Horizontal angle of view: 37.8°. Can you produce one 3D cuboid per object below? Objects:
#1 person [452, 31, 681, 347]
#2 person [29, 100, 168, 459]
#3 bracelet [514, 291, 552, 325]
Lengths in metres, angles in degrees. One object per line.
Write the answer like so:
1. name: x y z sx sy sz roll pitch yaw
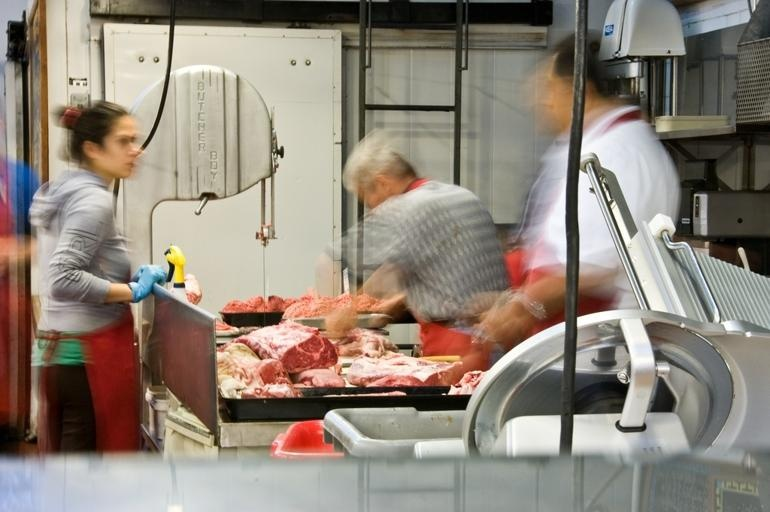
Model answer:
1. person: 0.898 -0.313 5.645 0.964 2.636 1.115 1 2 11
2. person: -1.298 0.109 5.083 0.584 1.612 0.421 1 2 -20
3. bracelet: 0.628 0.211 4.709 0.114 0.031 0.124 40 -2 12
